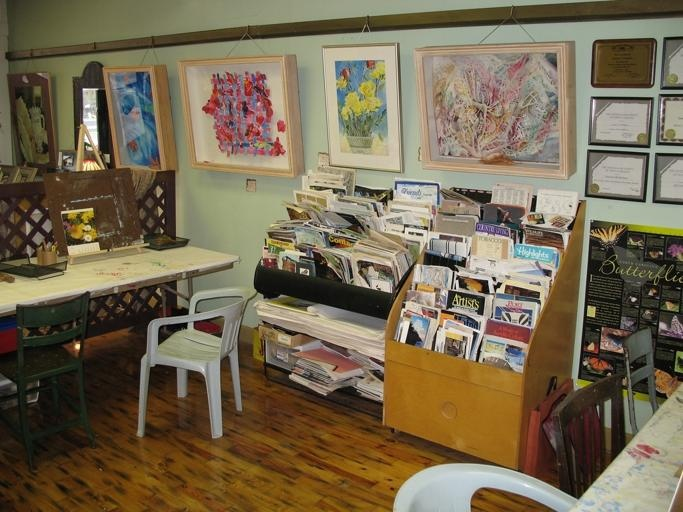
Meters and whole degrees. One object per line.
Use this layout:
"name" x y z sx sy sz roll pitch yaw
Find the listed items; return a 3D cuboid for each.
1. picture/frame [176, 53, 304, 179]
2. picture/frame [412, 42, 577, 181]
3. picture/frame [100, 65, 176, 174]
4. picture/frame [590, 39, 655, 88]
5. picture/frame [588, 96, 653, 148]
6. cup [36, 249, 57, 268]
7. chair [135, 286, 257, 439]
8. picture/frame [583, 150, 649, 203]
"picture/frame" -0.795 -1.141 3.983 1.162 0.794 0.160 12 29 34
"picture/frame" 0.921 -0.859 2.882 0.895 0.687 0.122 8 21 33
"picture/frame" -1.904 -1.304 4.699 0.842 0.924 0.279 12 21 36
"picture/frame" 1.516 -1.030 2.639 0.282 0.223 0.030 9 14 33
"picture/frame" 1.544 -0.740 2.711 0.292 0.235 0.020 11 18 30
"cup" -2.042 0.006 3.442 0.102 0.121 0.171 1 9 3
"chair" -1.013 0.751 3.407 0.669 0.852 0.699 8 14 9
"picture/frame" 1.550 -0.451 2.761 0.304 0.251 0.021 8 11 33
